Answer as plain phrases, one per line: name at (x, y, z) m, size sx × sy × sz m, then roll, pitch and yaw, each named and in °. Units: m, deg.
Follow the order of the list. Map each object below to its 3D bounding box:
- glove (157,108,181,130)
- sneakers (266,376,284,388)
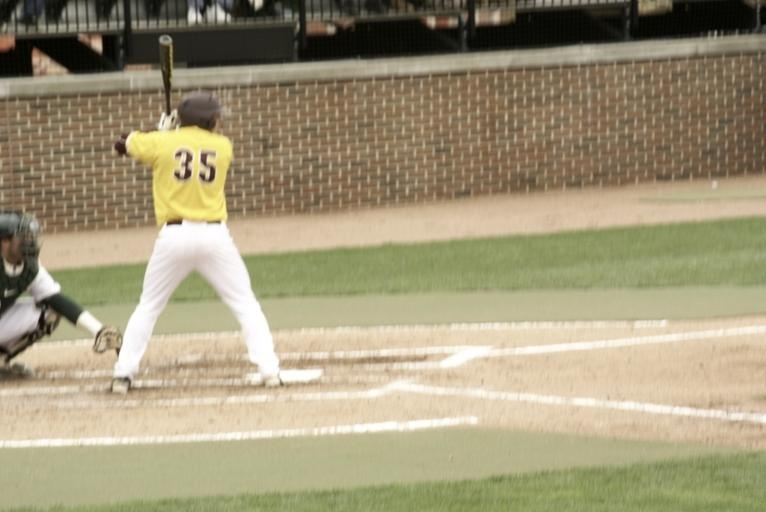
glove at (-2.440, -1.493, 26.664) m, size 0.176 × 0.262 × 0.075 m, roll -3°, pitch 21°, yaw -30°
sneakers at (-1.257, 1.432, 26.925) m, size 0.131 × 0.111 × 0.140 m, roll -2°, pitch 12°, yaw -8°
